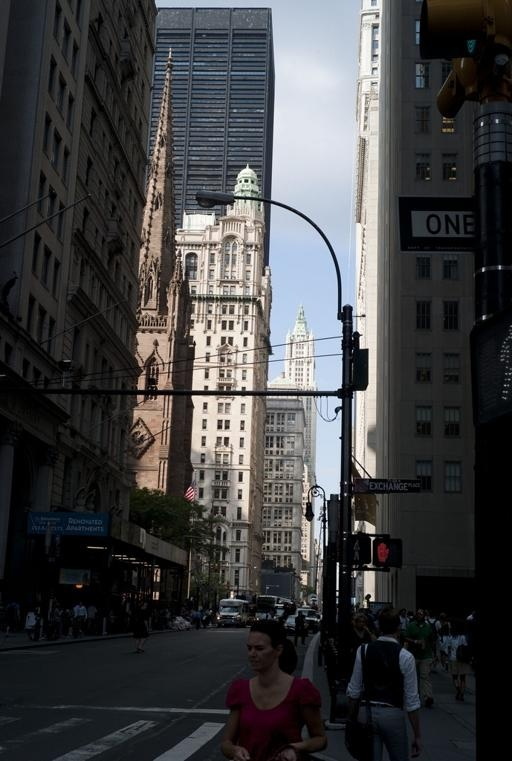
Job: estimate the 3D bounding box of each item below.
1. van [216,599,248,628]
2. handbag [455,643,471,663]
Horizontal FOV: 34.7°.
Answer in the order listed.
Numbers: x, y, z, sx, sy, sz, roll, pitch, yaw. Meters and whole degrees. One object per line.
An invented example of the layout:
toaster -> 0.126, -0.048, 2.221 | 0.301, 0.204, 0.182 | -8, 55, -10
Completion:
van -> -2.518, 23.801, 83.376 | 2.311, 2.389, 4.475 | -2, -28, 5
handbag -> 4.789, 6.287, 18.767 | 0.288, 0.611, 0.315 | 1, -18, 1
